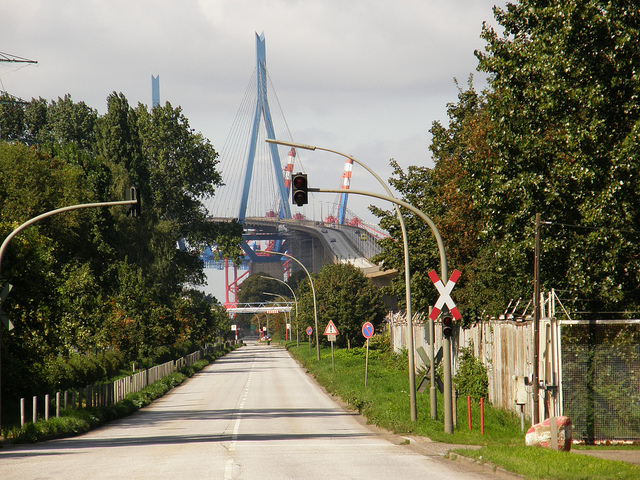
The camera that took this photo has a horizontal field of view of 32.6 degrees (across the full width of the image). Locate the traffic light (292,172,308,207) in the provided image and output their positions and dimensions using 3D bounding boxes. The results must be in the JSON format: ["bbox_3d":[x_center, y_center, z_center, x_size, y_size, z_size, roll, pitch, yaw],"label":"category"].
[{"bbox_3d":[-0.720,-1.819,39.425,0.515,1.225,0.555,-1,-10,4],"label":"traffic light"}]

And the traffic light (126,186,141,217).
[{"bbox_3d":[-7.004,-1.482,41.320,0.500,1.179,1.021,1,-11,-11],"label":"traffic light"}]

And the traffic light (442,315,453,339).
[{"bbox_3d":[4.596,3.170,39.601,0.477,0.826,0.425,2,-10,-13],"label":"traffic light"}]
